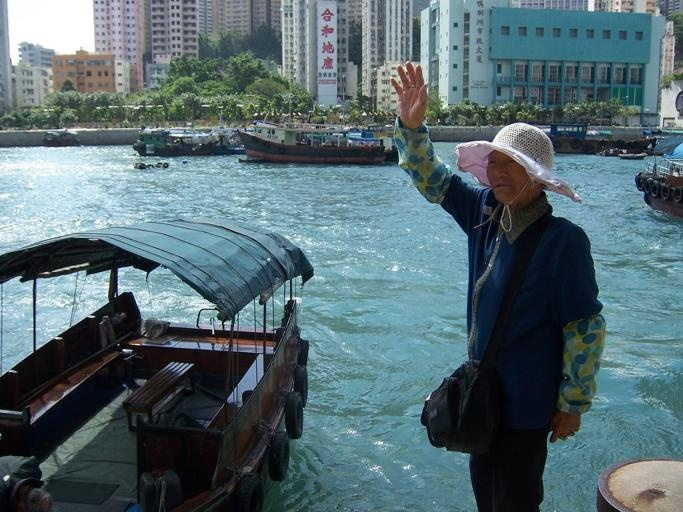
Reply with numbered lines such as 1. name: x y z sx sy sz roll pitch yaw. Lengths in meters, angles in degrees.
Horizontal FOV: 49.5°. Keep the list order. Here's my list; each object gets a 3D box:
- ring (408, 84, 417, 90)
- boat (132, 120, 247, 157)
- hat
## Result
1. ring: 0.373 -0.873 3.825 0.028 0.028 0.028 1 18 0
2. boat: -10.459 -7.547 50.111 2.246 1.674 6.942 10 15 43
3. hat: 0.958 -0.544 3.858 0.569 0.314 0.613 11 13 2
